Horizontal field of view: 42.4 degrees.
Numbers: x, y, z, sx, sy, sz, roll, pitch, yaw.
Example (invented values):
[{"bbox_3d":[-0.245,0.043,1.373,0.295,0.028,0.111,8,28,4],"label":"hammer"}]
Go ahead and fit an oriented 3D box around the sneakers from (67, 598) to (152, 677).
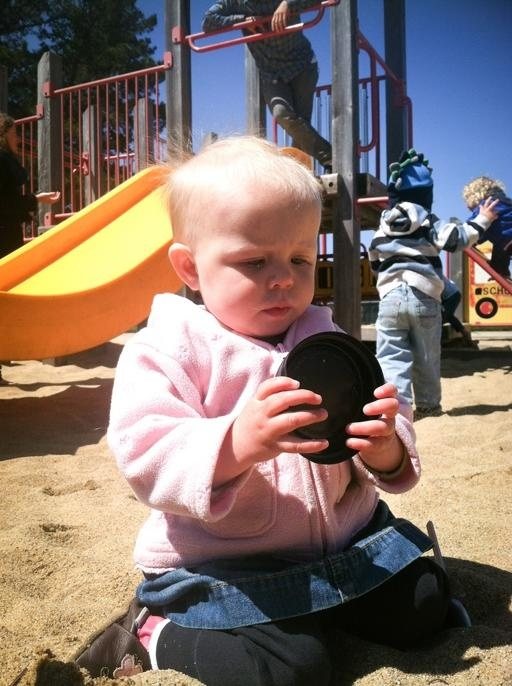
[{"bbox_3d":[-0.261,0.564,1.262,0.092,0.144,0.148,-8,-13,11],"label":"sneakers"}]
